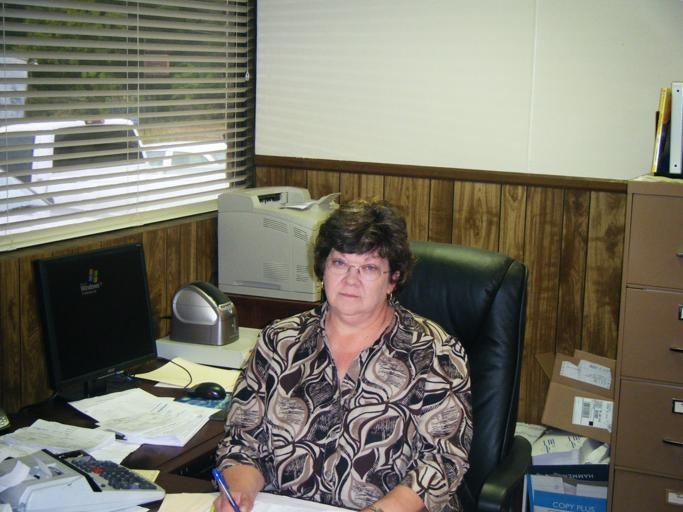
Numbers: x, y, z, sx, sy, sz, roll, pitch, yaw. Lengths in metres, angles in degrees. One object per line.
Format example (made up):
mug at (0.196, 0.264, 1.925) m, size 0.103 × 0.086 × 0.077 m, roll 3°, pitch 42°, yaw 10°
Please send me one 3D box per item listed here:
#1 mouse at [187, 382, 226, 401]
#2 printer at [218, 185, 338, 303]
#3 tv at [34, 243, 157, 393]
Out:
mouse at (-0.471, 0.489, 2.046) m, size 0.106 × 0.040 × 0.061 m, roll 8°, pitch 3°, yaw 11°
printer at (-0.299, -0.110, 3.058) m, size 0.536 × 0.530 × 0.587 m, roll 2°, pitch 8°, yaw 19°
tv at (-0.912, 0.237, 2.114) m, size 0.154 × 0.559 × 0.478 m, roll -1°, pitch 9°, yaw 38°
